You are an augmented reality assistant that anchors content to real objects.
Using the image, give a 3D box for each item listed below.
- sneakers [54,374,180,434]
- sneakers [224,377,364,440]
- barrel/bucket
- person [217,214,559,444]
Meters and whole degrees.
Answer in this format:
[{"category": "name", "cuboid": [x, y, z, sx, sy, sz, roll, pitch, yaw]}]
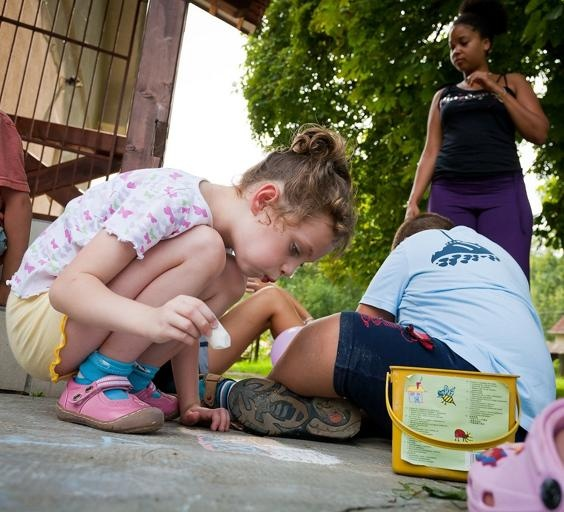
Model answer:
[{"category": "sneakers", "cuboid": [-0.514, 0.437, 1.605, 0.343, 0.111, 0.151, 4, -9, 24]}, {"category": "sneakers", "cuboid": [0.039, 0.564, 1.968, 0.597, 0.162, 0.236, 1, -15, 4]}, {"category": "barrel/bucket", "cuboid": [0.474, 0.411, 1.517, 0.447, 0.249, 0.294, 2, -3, 2]}, {"category": "person", "cuboid": [0.264, 0.253, 2.030, 1.336, 0.775, 0.908, -4, -32, 32]}]
